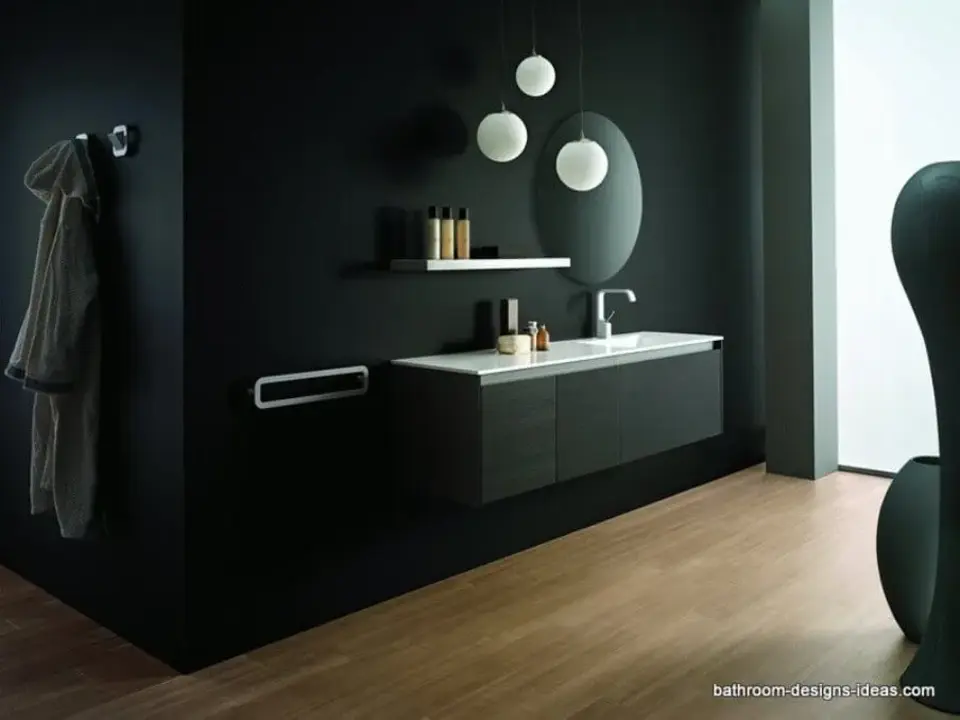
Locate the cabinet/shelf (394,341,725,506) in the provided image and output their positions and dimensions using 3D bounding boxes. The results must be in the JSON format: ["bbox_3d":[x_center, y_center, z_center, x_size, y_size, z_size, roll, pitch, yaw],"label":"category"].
[{"bbox_3d":[0.478,0.262,3.994,1.904,0.670,0.477,-9,14,-34],"label":"cabinet/shelf"}]

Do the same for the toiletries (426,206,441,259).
[{"bbox_3d":[-0.231,-0.619,3.699,0.081,0.244,0.176,-1,11,-5],"label":"toiletries"}]

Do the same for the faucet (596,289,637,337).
[{"bbox_3d":[0.818,-0.289,4.642,0.222,0.314,0.509,1,12,9],"label":"faucet"}]

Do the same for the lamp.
[{"bbox_3d":[0.403,-1.456,4.039,0.535,1.102,1.004,8,14,38],"label":"lamp"}]
